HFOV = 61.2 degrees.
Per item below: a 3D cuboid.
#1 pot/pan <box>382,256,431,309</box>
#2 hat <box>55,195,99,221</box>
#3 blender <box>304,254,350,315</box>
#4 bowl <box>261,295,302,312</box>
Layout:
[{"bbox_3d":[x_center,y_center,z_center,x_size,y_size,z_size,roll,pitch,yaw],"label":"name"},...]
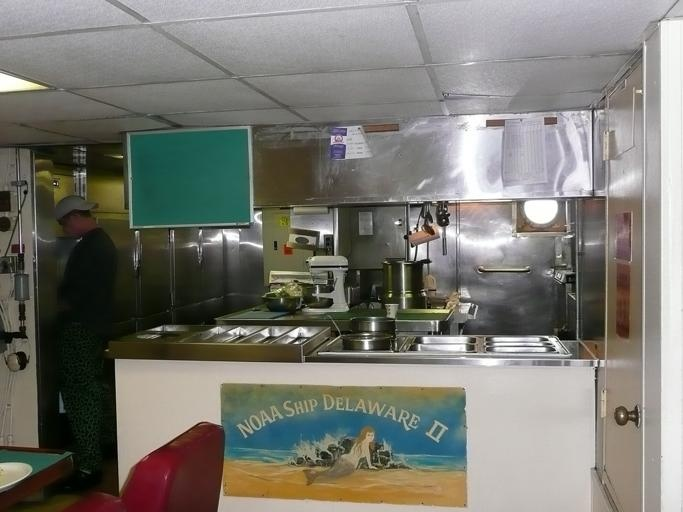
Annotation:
[{"bbox_3d":[0.571,0.282,5.772,0.565,0.604,0.414,0,-3,1],"label":"pot/pan"},{"bbox_3d":[-2.252,-0.417,4.909,0.271,0.144,0.196,-25,8,-7],"label":"hat"},{"bbox_3d":[-0.117,0.210,5.585,0.348,0.565,0.698,-1,12,0],"label":"blender"},{"bbox_3d":[-0.551,0.451,5.446,0.349,0.186,0.233,-5,13,-14],"label":"bowl"}]
